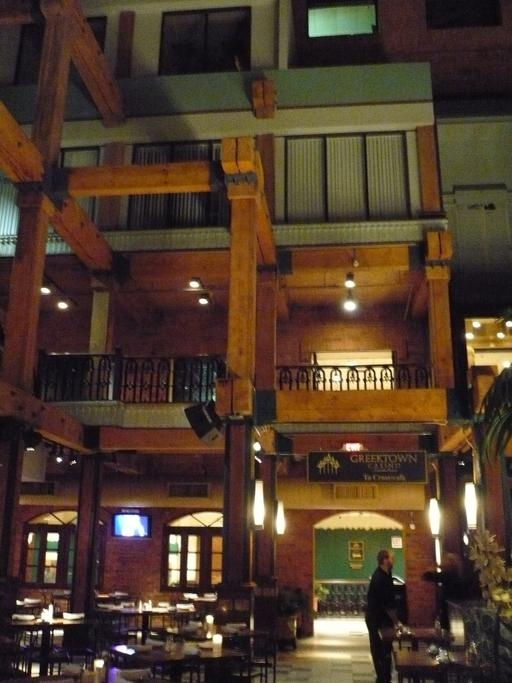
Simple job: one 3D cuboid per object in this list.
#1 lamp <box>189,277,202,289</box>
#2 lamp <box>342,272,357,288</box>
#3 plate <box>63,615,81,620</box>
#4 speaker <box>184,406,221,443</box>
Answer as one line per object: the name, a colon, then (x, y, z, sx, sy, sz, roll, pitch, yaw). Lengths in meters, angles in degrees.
lamp: (-1.213, -1.160, 12.744, 0.195, 0.045, 0.178, -2, -53, -9)
lamp: (1.813, -1.143, 12.328, 0.325, 0.339, 0.305, 2, -41, 5)
plate: (-2.594, 3.889, 9.015, 0.139, 0.050, 0.117, 2, -14, -5)
speaker: (-0.700, 1.065, 8.495, 0.469, 0.410, 0.386, 1, -20, -4)
